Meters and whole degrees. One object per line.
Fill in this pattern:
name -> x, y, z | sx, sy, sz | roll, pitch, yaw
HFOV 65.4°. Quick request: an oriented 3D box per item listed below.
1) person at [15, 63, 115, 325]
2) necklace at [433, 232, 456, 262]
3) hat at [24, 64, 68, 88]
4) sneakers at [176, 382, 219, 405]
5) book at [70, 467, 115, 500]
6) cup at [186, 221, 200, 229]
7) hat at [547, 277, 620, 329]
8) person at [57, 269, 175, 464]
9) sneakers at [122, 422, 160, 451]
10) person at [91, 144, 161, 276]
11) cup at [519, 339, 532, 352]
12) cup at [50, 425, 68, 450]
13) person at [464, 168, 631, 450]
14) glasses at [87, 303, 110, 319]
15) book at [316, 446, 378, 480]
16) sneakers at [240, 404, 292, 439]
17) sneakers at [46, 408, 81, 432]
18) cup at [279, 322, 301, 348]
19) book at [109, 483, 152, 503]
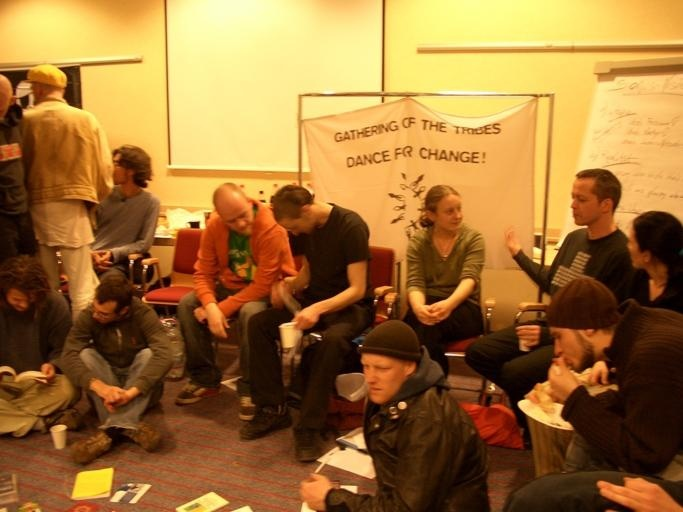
person -> -2.243, -0.459, 4.361 | 0.871, 2.106, 0.596 | 1, 3, 14
necklace -> 0.747, -0.074, 3.798 | 0.146, 0.147, 0.184 | -10, -13, 9
hat -> -2.338, -1.384, 4.194 | 0.283, 0.135, 0.199 | 16, 17, 12
sneakers -> -1.022, 0.989, 3.842 | 0.124, 0.117, 0.307 | -3, -5, 34
book -> -1.328, 1.221, 2.853 | 0.199, 0.024, 0.258 | -3, 11, -15
cup -> -1.465, -0.310, 5.307 | 0.146, 0.089, 0.104 | -1, 9, -8
hat -> 1.031, 0.193, 2.281 | 0.312, 0.181, 0.209 | -1, 9, 19
person -> -1.448, 0.672, 3.416 | 0.733, 0.981, 1.047 | -2, 8, -13
sneakers -> -1.172, 1.082, 3.184 | 0.229, 0.118, 0.085 | 24, -22, 20
person -> -2.085, -0.393, 4.743 | 0.946, 1.122, 0.819 | 1, 14, -22
cup -> 1.142, 0.565, 3.331 | 0.077, 0.075, 0.073 | -1, 14, 0
cup -> -1.711, 1.076, 3.225 | 0.080, 0.151, 0.165 | -8, 15, -31
person -> 1.363, 0.382, 3.580 | 1.180, 1.812, 0.845 | -5, 14, 16
glasses -> -1.529, 0.348, 3.366 | 0.076, 0.061, 0.092 | 9, -31, -10
book -> 0.047, 1.180, 3.044 | 0.265, 0.031, 0.278 | 8, 16, 18
sneakers -> -0.461, 1.059, 3.447 | 0.134, 0.159, 0.368 | 7, 6, 42
sneakers -> -1.775, 1.045, 3.411 | 0.155, 0.103, 0.138 | 0, 1, 23
cup -> -0.323, 0.496, 3.306 | 0.186, 0.159, 0.099 | 1, 2, 2
book -> -1.105, 1.242, 2.798 | 0.170, 0.019, 0.162 | 1, 11, 2
